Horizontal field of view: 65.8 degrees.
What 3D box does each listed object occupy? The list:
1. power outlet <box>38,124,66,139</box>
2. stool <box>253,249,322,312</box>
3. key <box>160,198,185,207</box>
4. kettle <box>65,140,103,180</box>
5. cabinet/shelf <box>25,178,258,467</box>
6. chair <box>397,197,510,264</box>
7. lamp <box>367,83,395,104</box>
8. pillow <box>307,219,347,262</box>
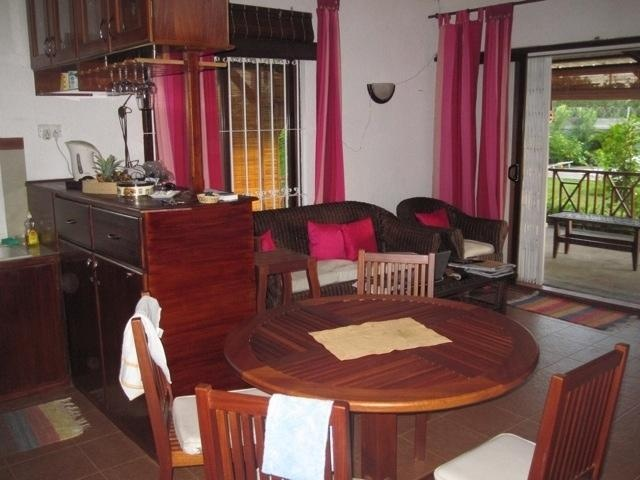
[{"bbox_3d":[-2.082,-0.835,3.810,0.177,0.106,0.054,-3,12,-35],"label":"power outlet"},{"bbox_3d":[-0.272,0.234,3.398,0.432,0.384,0.416,-4,8,-27],"label":"stool"},{"bbox_3d":[-0.820,-0.205,2.761,0.120,0.019,0.196,-4,14,-24],"label":"key"},{"bbox_3d":[-1.711,-0.569,3.569,0.212,0.276,0.294,-3,15,-18],"label":"kettle"},{"bbox_3d":[-1.006,0.454,2.762,0.584,1.084,1.620,-12,17,-39],"label":"cabinet/shelf"},{"bbox_3d":[1.351,-0.130,5.337,0.855,0.805,0.933,-5,6,-33],"label":"chair"},{"bbox_3d":[0.732,-1.637,5.558,0.411,0.225,0.187,-11,19,-42],"label":"lamp"},{"bbox_3d":[0.056,0.024,4.633,0.196,0.360,0.337,-23,-5,38],"label":"pillow"}]
